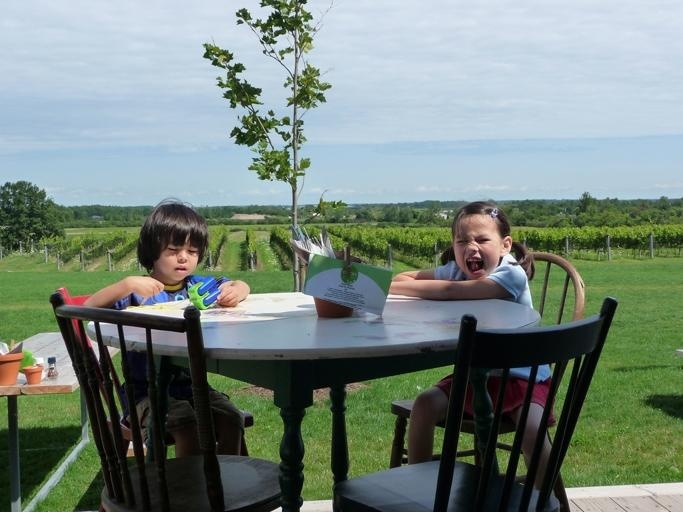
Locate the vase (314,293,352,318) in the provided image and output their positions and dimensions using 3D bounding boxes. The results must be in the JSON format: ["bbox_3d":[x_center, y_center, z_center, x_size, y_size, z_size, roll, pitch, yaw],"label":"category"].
[{"bbox_3d":[-0.032,0.224,2.465,0.107,0.076,0.116,4,-4,-38],"label":"vase"}]

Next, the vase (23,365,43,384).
[{"bbox_3d":[-1.915,0.744,3.414,0.100,0.098,0.145,-4,4,-32],"label":"vase"}]
